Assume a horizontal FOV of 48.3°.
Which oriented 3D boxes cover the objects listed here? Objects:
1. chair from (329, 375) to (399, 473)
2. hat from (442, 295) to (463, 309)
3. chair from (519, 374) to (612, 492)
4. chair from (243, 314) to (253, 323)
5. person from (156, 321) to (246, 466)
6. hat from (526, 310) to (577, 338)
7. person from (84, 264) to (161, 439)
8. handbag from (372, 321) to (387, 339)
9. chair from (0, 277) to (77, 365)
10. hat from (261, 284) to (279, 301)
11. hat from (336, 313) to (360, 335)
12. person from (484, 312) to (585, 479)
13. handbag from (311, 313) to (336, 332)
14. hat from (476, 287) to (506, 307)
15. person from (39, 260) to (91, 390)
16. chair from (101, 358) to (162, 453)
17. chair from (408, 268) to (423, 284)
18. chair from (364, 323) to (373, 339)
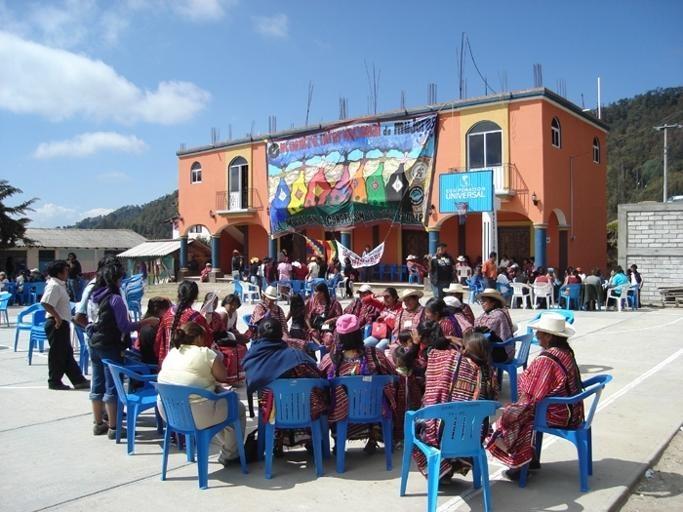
[{"bbox_3d":[0.205,1.973,9.340,0.874,1.433,0.919,0,0,-3],"label":"chair"},{"bbox_3d":[1.691,0.721,11.536,0.245,0.177,0.587,2,14,9],"label":"hat"},{"bbox_3d":[2.667,1.898,9.095,1.017,1.630,1.225,0,-3,28],"label":"chair"},{"bbox_3d":[-1.613,1.074,13.204,0.177,0.167,0.201,0,0,9],"label":"chair"},{"bbox_3d":[-1.654,1.614,9.170,0.899,1.710,0.963,-2,2,-16],"label":"person"},{"bbox_3d":[2.394,0.783,8.762,0.409,0.193,0.417,12,9,31],"label":"hat"},{"bbox_3d":[-3.041,1.210,10.158,0.691,2.342,0.629,2,3,33],"label":"person"},{"bbox_3d":[0.583,1.133,11.609,0.188,0.224,0.080,-4,-11,29],"label":"handbag"},{"bbox_3d":[-5.857,1.258,14.644,1.049,1.713,1.175,-2,-9,5],"label":"chair"},{"bbox_3d":[-1.121,0.652,12.106,0.252,0.140,0.327,2,13,2],"label":"hat"},{"bbox_3d":[0.070,0.790,9.060,0.284,0.209,0.312,-1,13,-3],"label":"hat"},{"bbox_3d":[2.177,1.654,9.010,1.100,2.009,1.149,4,-3,-17],"label":"person"},{"bbox_3d":[-0.283,1.088,12.210,0.275,0.242,0.106,-4,-34,32],"label":"handbag"},{"bbox_3d":[2.280,0.639,11.499,0.379,0.282,0.275,0,13,1],"label":"hat"},{"bbox_3d":[-4.182,1.061,11.477,0.630,2.006,0.561,0,11,-1],"label":"person"},{"bbox_3d":[-2.653,1.761,9.867,0.860,1.421,0.966,-2,4,-27],"label":"chair"},{"bbox_3d":[2.537,0.680,26.111,0.415,0.656,0.443,1,-6,-5],"label":"chair"},{"bbox_3d":[0.429,1.180,12.083,0.103,0.370,0.231,-1,0,17],"label":"chair"}]
